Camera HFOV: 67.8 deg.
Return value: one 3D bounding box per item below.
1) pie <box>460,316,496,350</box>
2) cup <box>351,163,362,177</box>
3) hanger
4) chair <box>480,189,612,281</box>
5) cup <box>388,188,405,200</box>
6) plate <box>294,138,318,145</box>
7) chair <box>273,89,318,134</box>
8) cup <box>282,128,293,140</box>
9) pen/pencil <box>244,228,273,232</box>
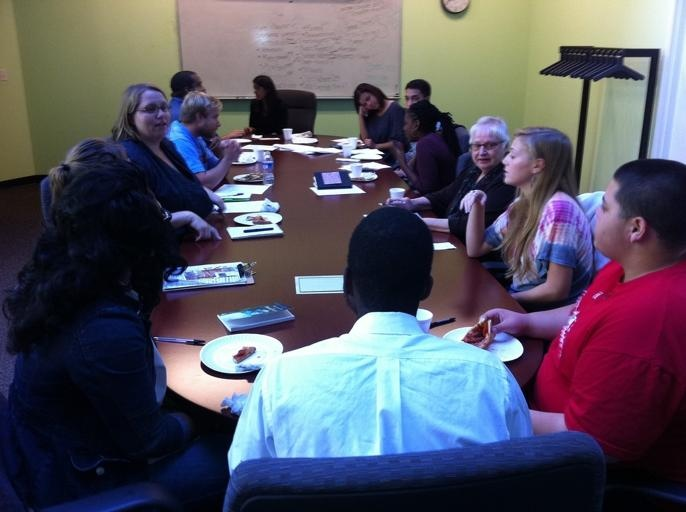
[{"bbox_3d":[0.428,0.251,1.603,0.118,0.041,0.108,-21,45,20],"label":"pie"},{"bbox_3d":[0.090,-0.639,3.773,0.077,0.095,0.094,-1,5,-2],"label":"cup"},{"bbox_3d":[1.979,-1.568,4.173,0.489,0.222,0.698,-12,21,-17],"label":"hanger"},{"bbox_3d":[0.906,-0.096,2.195,0.360,0.364,0.293,-1,11,14],"label":"chair"},{"bbox_3d":[0.331,-0.383,3.224,0.089,0.068,0.085,-5,20,2],"label":"cup"},{"bbox_3d":[-0.396,-1.187,5.290,0.130,0.021,0.153,0,27,4],"label":"plate"},{"bbox_3d":[-0.492,-1.661,5.884,0.406,0.592,0.503,-2,18,-2],"label":"chair"},{"bbox_3d":[-0.571,-1.247,5.287,0.150,0.124,0.145,-1,14,0],"label":"cup"},{"bbox_3d":[-0.432,-0.135,2.581,0.084,0.029,0.006,-2,53,-5],"label":"pen/pencil"}]
